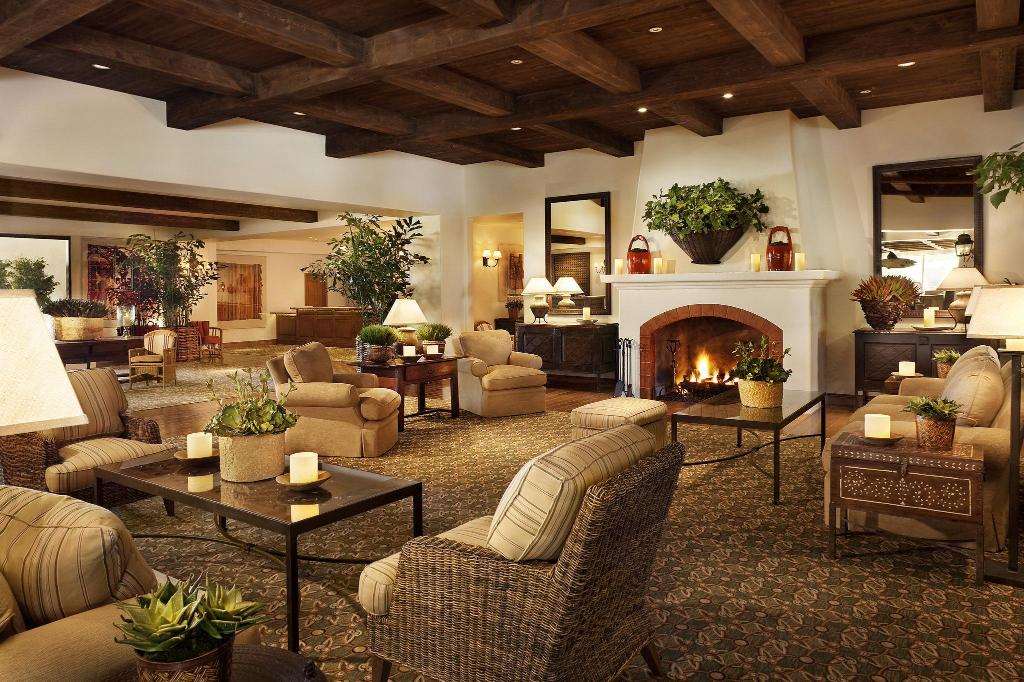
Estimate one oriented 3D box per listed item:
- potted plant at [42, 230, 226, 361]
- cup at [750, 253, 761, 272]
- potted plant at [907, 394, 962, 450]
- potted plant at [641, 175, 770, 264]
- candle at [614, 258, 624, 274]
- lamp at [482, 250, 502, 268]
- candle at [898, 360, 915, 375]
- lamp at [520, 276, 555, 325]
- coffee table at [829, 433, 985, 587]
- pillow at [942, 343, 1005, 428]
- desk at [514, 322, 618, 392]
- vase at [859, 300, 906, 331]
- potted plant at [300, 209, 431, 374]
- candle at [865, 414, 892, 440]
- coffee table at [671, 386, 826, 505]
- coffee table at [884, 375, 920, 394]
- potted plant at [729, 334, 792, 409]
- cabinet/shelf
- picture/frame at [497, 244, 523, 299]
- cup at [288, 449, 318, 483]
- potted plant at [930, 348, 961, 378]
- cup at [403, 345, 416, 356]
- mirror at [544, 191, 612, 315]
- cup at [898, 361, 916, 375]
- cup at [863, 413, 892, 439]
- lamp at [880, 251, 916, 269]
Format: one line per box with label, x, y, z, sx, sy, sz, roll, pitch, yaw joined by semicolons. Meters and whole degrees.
potted plant;-7.154;-0.931;12.009;1.955;2.642;3.360;6;5;40
cup;2.864;-0.939;7.575;0.125;0.214;0.355;-1;4;19
potted plant;2.475;0.490;3.818;0.267;0.241;0.257;5;-4;-34
potted plant;2.471;-1.336;8.039;1.057;0.610;1.131;1;-1;-36
candle;1.434;-1.003;8.577;0.137;0.205;0.496;-1;4;9
lamp;-0.401;-1.540;11.868;0.245;0.262;0.456;-5;-1;33
candle;3.855;0.260;6.364;0.203;0.146;0.189;1;1;32
lamp;0.367;-0.631;9.612;0.807;0.677;0.685;-1;-1;-1
coffee table;2.537;1.005;3.752;0.736;0.678;0.991;8;-9;-12
pillow;3.191;0.270;4.425;0.377;0.477;1.076;3;10;36
desk;0.970;0.134;9.662;1.585;0.844;0.927;3;8;43
vase;4.193;-0.289;7.276;0.475;0.271;0.404;0;0;4
potted plant;-2.026;-0.862;9.854;1.454;1.426;1.738;-14;14;-37
candle;2.179;0.512;3.913;0.190;0.138;0.159;0;-2;1
coffee table;1.864;0.733;4.877;1.107;0.336;0.654;-10;0;-42
coffee table;3.676;0.386;6.102;0.302;0.142;0.289;3;5;36
potted plant;1.960;0.232;5.189;0.562;0.466;0.491;-3;12;-20
cabinet/shelf;4.511;0.316;7.386;1.751;0.794;0.538;1;-6;-13
picture/frame;-0.069;-1.375;12.431;0.127;1.187;1.446;-1;-2;25
cup;-1.143;0.685;3.590;0.195;0.156;0.173;-1;5;-18
potted plant;4.026;0.176;5.977;0.343;0.265;0.294;5;11;30
cup;-1.169;0.090;7.160;0.132;0.097;0.120;4;7;24
mirror;1.009;-1.291;9.523;0.997;1.723;0.210;0;6;28
cup;3.860;0.259;6.374;0.218;0.172;0.201;0;2;0
cup;2.181;0.507;3.922;0.198;0.141;0.159;1;-2;6
lamp;4.537;-0.966;7.618;0.291;0.102;0.247;-2;5;-3
